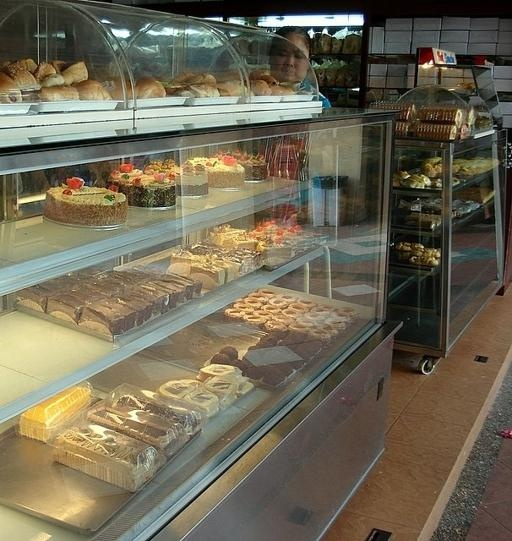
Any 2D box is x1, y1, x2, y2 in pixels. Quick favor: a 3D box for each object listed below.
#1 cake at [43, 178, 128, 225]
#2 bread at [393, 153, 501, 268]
[{"bbox_3d":[-0.340,-0.136,0.955,0.117,0.046,0.101,10,14,-10],"label":"cake"},{"bbox_3d":[1.232,-0.415,3.119,1.038,0.704,0.352,-8,12,-42],"label":"bread"}]
